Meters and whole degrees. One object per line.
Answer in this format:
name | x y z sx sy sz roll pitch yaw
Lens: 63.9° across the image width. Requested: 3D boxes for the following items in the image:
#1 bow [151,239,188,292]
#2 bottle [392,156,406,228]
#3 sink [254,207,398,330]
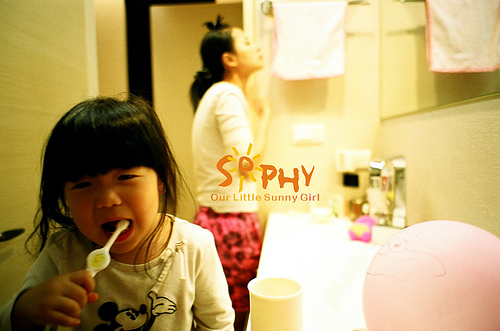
bow | -0.221 0.295 1.158 0.097 0.153 0.031 2 20 -4
bottle | 0.490 0.090 1.326 0.043 0.238 0.037 1 5 19
sink | 0.216 0.312 1.287 0.305 0.117 0.480 6 28 4
